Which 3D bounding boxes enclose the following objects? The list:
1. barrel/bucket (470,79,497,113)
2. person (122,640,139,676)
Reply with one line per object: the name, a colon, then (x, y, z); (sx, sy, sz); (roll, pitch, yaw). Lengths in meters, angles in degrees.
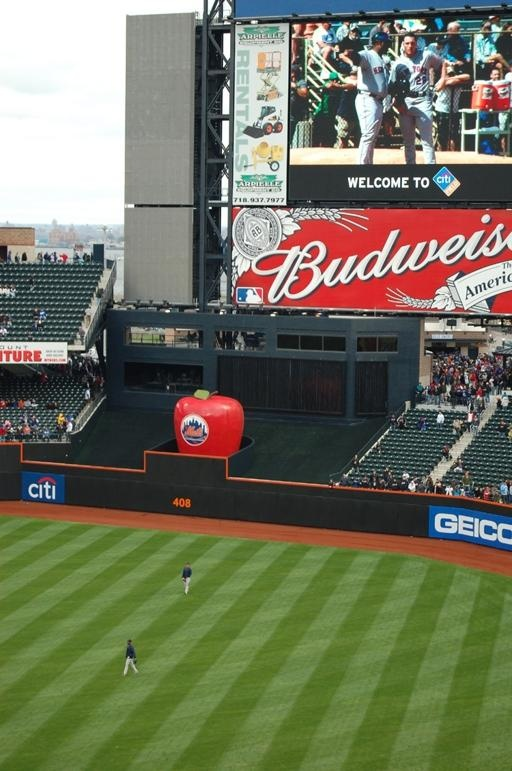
barrel/bucket: (8.809, -11.164, 39.031); (1.060, 1.096, 1.003); (0, 2, 0)
person: (-2.698, 5.716, 21.635); (0.309, 0.737, 0.761); (-1, 7, -8)
